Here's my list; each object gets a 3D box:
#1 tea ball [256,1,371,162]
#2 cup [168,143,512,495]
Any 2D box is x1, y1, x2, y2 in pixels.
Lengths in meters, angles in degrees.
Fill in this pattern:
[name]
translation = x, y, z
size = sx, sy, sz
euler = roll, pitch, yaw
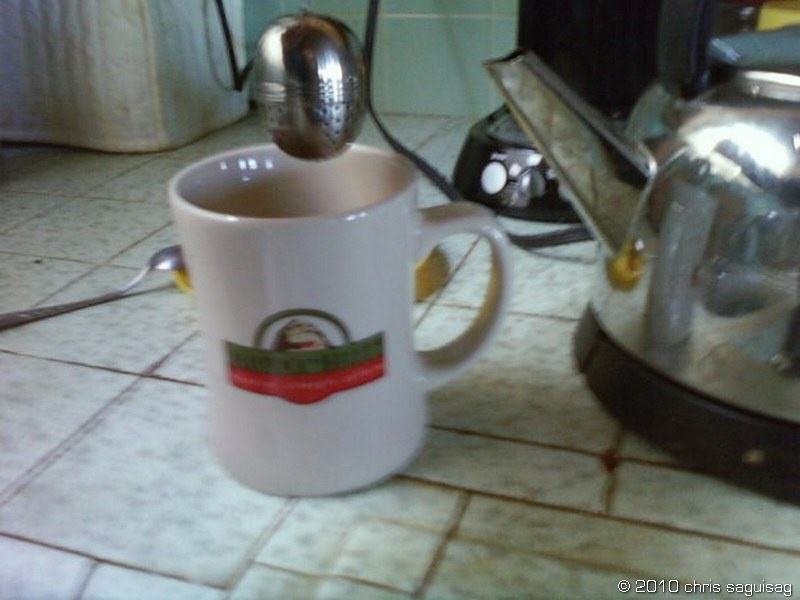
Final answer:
[tea ball]
translation = -0.037, -0.095, 0.298
size = 0.048, 0.060, 0.061
euler = 4, 30, 9
[cup]
translation = -0.014, 0.007, 0.320
size = 0.158, 0.130, 0.098
euler = 0, 29, 0
